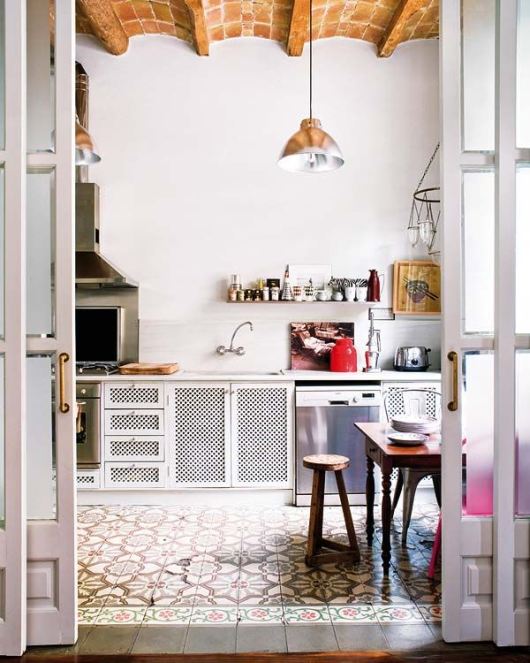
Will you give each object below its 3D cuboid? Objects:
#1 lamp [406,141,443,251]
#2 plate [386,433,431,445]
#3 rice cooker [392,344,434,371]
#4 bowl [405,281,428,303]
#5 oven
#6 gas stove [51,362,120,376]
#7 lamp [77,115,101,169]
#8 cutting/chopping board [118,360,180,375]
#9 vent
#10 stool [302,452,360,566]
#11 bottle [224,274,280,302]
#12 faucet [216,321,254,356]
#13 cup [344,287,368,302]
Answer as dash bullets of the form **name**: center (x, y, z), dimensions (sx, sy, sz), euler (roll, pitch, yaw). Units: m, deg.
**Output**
- **lamp**: center (1.101, -0.987, 4.336), dimensions (0.236, 0.894, 1.273), euler (-1, 1, 15)
- **plate**: center (0.653, 0.492, 2.829), dimensions (0.183, 0.045, 0.179), euler (-1, 2, 15)
- **rice cooker**: center (1.074, 0.205, 4.521), dimensions (0.227, 0.174, 0.181), euler (-1, 1, 5)
- **bowl**: center (1.173, -0.313, 4.808), dimensions (0.140, 0.179, 0.038), euler (-3, 2, -1)
- **oven**: center (-1.258, 0.604, 4.109), dimensions (0.289, 0.528, 0.367), euler (2, 9, -13)
- **gas stove**: center (-1.181, 0.259, 4.296), dimensions (0.293, 0.039, 0.553), euler (-1, 2, -15)
- **lamp**: center (-1.137, -1.225, 3.904), dimensions (0.126, 0.361, 0.789), euler (-1, 1, -17)
- **cutting/chopping board**: center (-0.808, 0.263, 4.257), dimensions (0.365, 0.075, 0.386), euler (-1, 2, -2)
- **vent**: center (-1.178, -0.719, 4.531), dimensions (0.477, 0.987, 0.811), euler (-1, 1, -6)
- **stool**: center (0.335, 0.889, 3.114), dimensions (0.277, 0.520, 0.335), euler (-1, 1, 8)
- **bottle**: center (-0.086, -0.321, 4.625), dimensions (0.412, 0.204, 0.194), euler (-1, 1, -3)
- **faucet**: center (-0.237, 0.068, 4.758), dimensions (0.252, 0.344, 0.248), euler (-4, -6, 44)
- **cup**: center (0.676, -0.274, 4.607), dimensions (0.123, 0.084, 0.112), euler (1, -1, 0)
